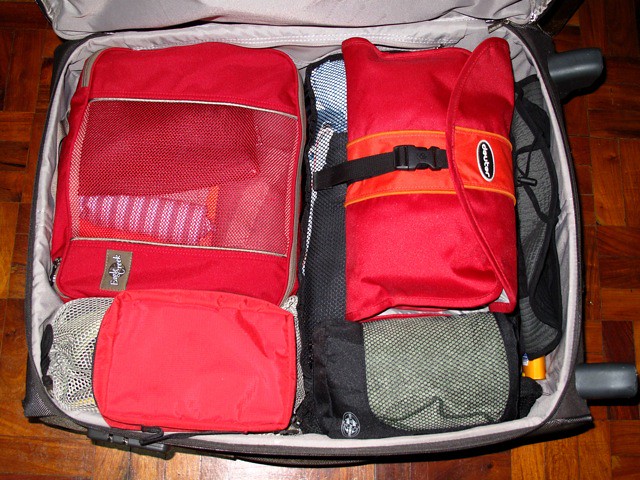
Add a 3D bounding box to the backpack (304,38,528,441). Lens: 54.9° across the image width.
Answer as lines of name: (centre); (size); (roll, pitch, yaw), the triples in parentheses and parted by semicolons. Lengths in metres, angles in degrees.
backpack: (0.217, -0.055, 1.410); (0.521, 0.267, 0.881); (4, 76, -4)
